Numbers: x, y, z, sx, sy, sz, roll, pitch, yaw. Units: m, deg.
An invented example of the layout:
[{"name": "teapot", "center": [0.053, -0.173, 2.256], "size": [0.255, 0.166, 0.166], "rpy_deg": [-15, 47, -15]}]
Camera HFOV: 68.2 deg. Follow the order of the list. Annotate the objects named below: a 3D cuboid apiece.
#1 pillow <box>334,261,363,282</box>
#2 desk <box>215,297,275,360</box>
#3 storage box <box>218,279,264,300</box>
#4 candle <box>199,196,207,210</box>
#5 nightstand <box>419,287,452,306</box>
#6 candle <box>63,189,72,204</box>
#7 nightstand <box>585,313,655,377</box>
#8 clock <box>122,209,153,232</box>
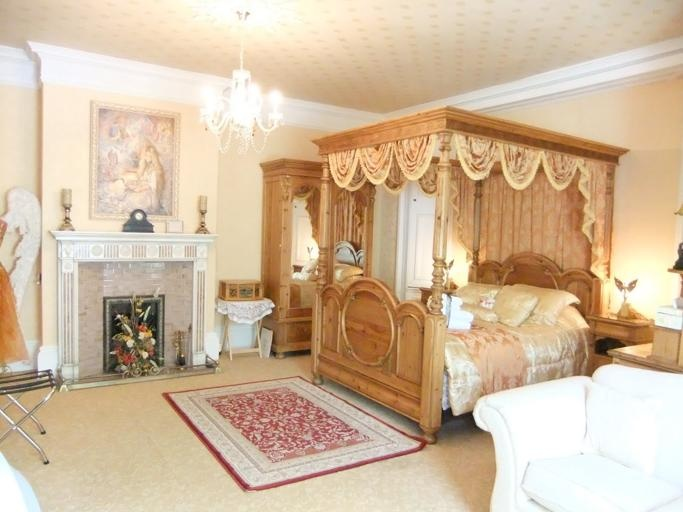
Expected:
[{"name": "pillow", "center": [0.092, 0.229, 7.419], "size": [0.304, 0.094, 0.313], "rpy_deg": [-7, 10, -23]}, {"name": "desk", "center": [-1.388, 0.886, 7.224], "size": [0.988, 0.930, 0.783], "rpy_deg": [1, -2, -27]}, {"name": "storage box", "center": [-1.424, 0.459, 7.052], "size": [0.606, 0.252, 0.362], "rpy_deg": [0, 9, -12]}, {"name": "candle", "center": [-1.836, -0.709, 6.683], "size": [0.094, 0.200, 0.105], "rpy_deg": [0, 9, -14]}, {"name": "nightstand", "center": [1.075, 0.454, 5.700], "size": [0.236, 0.329, 0.349], "rpy_deg": [1, 1, -21]}, {"name": "candle", "center": [-3.241, -0.703, 5.920], "size": [0.109, 0.186, 0.087], "rpy_deg": [0, 9, -14]}, {"name": "nightstand", "center": [2.820, 0.882, 5.097], "size": [0.530, 0.697, 0.673], "rpy_deg": [-6, 8, -36]}, {"name": "clock", "center": [-2.570, -0.444, 6.303], "size": [0.292, 0.238, 0.043], "rpy_deg": [3, -6, -38]}]
